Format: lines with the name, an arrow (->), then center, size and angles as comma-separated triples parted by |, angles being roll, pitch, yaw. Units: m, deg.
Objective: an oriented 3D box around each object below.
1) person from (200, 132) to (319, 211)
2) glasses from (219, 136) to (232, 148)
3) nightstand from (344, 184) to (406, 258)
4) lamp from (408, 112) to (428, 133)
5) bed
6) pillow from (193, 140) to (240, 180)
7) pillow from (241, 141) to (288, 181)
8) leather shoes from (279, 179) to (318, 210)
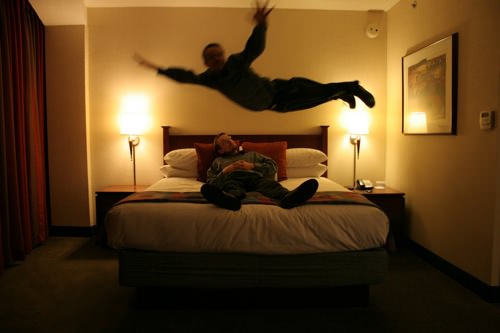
person -> -0.086, -0.007, 4.414 | 1.049, 0.839, 1.729 | -7, 3, -12
glasses -> -0.298, -0.288, 4.762 | 0.118, 0.079, 0.102 | 22, 33, 17
nightstand -> 1.605, 0.629, 4.841 | 0.922, 0.845, 0.672 | -1, 4, 4
lamp -> 1.965, -0.506, 4.703 | 0.252, 0.226, 0.204 | -2, -1, 6
bed -> -0.079, 0.547, 4.052 | 1.884, 0.956, 1.781 | 0, 2, 0
pillow -> -0.513, -0.049, 4.948 | 0.399, 0.391, 0.158 | -2, -21, 17
pillow -> 0.187, 0.007, 5.086 | 0.640, 0.605, 0.230 | -1, 5, 28
leather shoes -> 0.466, 0.261, 3.785 | 0.457, 0.175, 0.179 | -33, 0, 1
